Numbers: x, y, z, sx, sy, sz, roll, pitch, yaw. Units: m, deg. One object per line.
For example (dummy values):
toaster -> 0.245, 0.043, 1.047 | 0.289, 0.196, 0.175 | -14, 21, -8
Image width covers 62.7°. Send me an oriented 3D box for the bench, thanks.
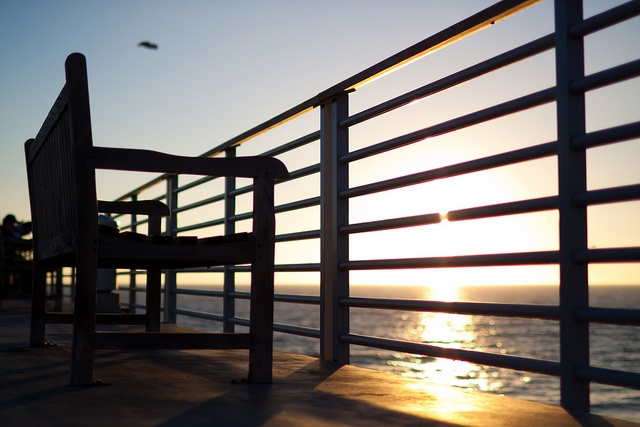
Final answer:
bench -> -1.008, 0.143, 2.893 | 0.996, 1.510, 1.562 | 6, -15, -35
